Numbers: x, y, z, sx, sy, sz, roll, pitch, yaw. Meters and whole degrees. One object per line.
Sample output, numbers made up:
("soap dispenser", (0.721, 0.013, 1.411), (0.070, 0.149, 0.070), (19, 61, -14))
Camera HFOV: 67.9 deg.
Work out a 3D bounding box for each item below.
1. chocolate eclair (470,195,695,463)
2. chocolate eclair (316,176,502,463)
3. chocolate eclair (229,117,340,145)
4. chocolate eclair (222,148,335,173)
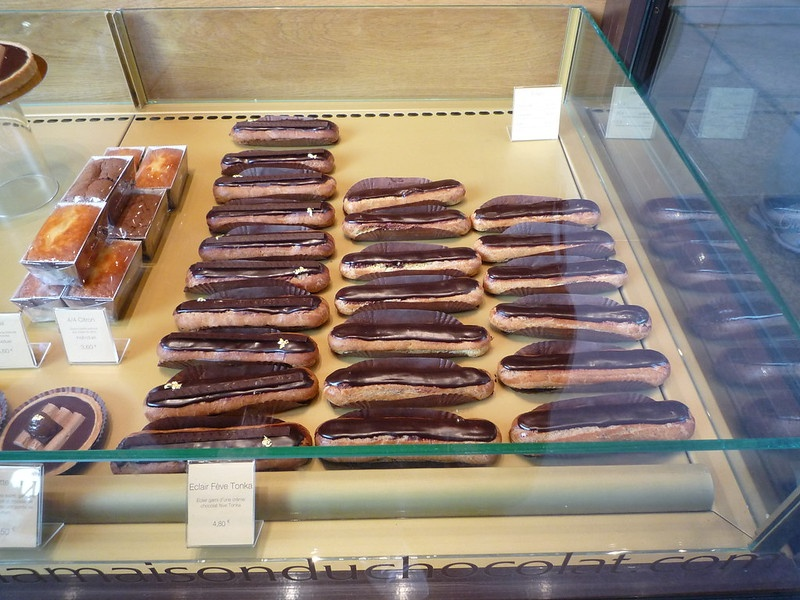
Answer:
("chocolate eclair", (0.406, 0.059, 1.389), (0.405, 0.100, 0.540), (-1, 44, 0))
("chocolate eclair", (0.020, 0.062, 1.421), (0.469, 0.128, 0.663), (-1, 44, -1))
("chocolate eclair", (-0.368, -0.540, 1.915), (0.308, 0.061, 0.112), (0, 28, 1))
("chocolate eclair", (-0.375, -0.436, 1.833), (0.312, 0.058, 0.101), (-1, 38, -1))
